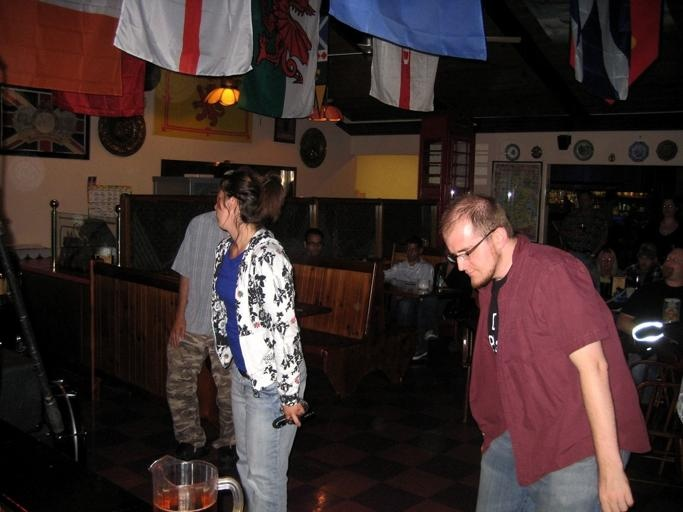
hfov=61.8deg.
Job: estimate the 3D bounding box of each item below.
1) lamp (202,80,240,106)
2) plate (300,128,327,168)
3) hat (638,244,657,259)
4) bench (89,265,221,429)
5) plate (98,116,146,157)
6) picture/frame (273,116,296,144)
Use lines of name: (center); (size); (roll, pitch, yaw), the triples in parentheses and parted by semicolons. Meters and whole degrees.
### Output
lamp: (-1.580, -2.206, 7.693); (0.373, 0.318, 0.736); (-1, 8, -16)
plate: (-0.648, -2.602, 13.780); (0.065, 0.964, 0.928); (7, 9, 39)
hat: (3.605, -0.060, 6.733); (0.145, 0.118, 0.211); (5, 1, 10)
bench: (-1.650, 0.819, 5.127); (1.252, 0.875, 0.423); (10, 13, 38)
plate: (-3.879, -2.153, 10.204); (0.182, 0.742, 0.930); (6, 9, 32)
picture/frame: (-1.249, -2.880, 13.104); (0.222, 0.573, 0.739); (6, 9, 33)
